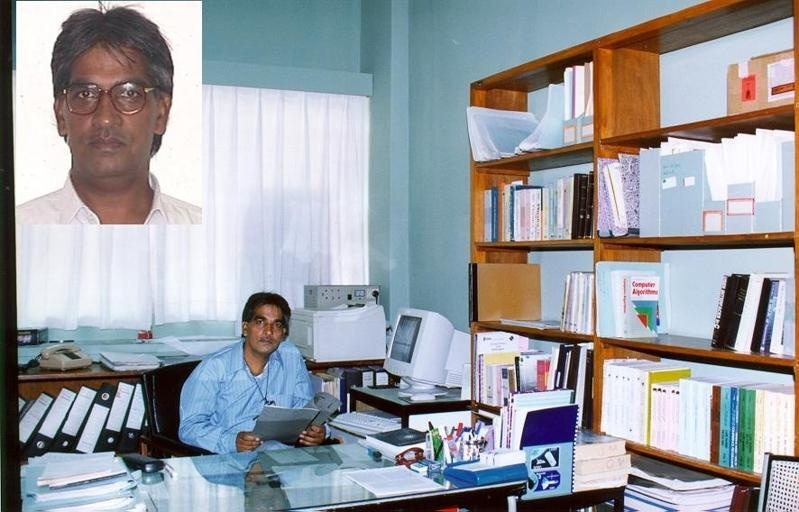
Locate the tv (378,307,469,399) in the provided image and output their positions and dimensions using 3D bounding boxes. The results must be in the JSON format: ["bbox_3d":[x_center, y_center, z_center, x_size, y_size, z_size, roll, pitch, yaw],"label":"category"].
[{"bbox_3d":[0.219,0.645,4.198,0.595,0.504,0.543,9,-5,-8],"label":"tv"}]

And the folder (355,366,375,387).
[{"bbox_3d":[-0.237,0.855,4.555,0.145,0.136,0.105,1,-2,-29],"label":"folder"}]

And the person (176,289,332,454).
[{"bbox_3d":[-0.801,0.686,3.645,0.840,0.881,0.704,-1,10,-28],"label":"person"}]

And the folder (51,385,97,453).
[{"bbox_3d":[-2.240,1.139,4.404,0.158,0.422,0.403,25,-9,-6],"label":"folder"}]

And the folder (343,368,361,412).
[{"bbox_3d":[-0.334,0.935,4.406,0.169,0.269,0.275,-1,-3,-6],"label":"folder"}]

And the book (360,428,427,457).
[{"bbox_3d":[-0.025,0.882,3.010,0.270,0.060,0.253,1,-1,-44],"label":"book"}]
